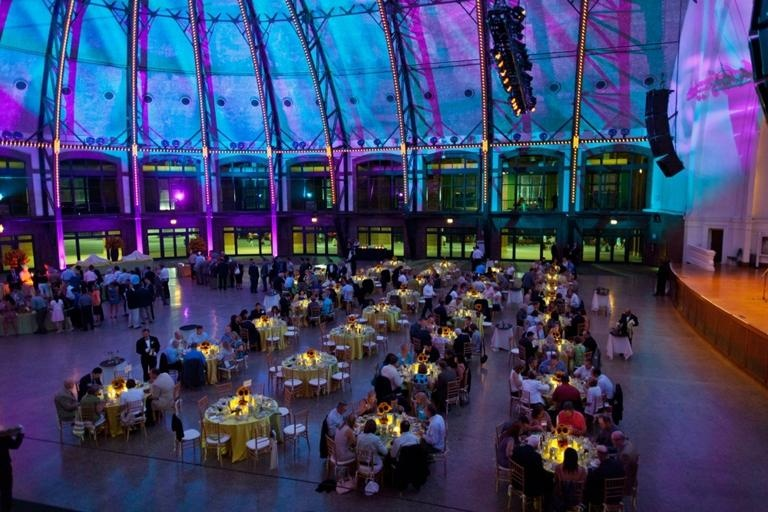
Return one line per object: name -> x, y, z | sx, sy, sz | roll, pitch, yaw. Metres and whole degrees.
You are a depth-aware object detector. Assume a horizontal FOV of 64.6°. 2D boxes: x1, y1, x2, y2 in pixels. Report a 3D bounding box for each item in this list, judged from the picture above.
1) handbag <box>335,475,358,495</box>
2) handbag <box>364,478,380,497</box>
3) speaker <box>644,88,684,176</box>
handbag -> -1.153, 6.937, 18.401 | 0.527, 0.214, 0.414 | -13, 23, -29
handbag -> -0.372, 6.958, 18.356 | 0.462, 0.432, 0.244 | -2, 2, -2
speaker -> 12.555, -5.597, 27.174 | 1.329, 3.963, 1.378 | -1, 2, 26
